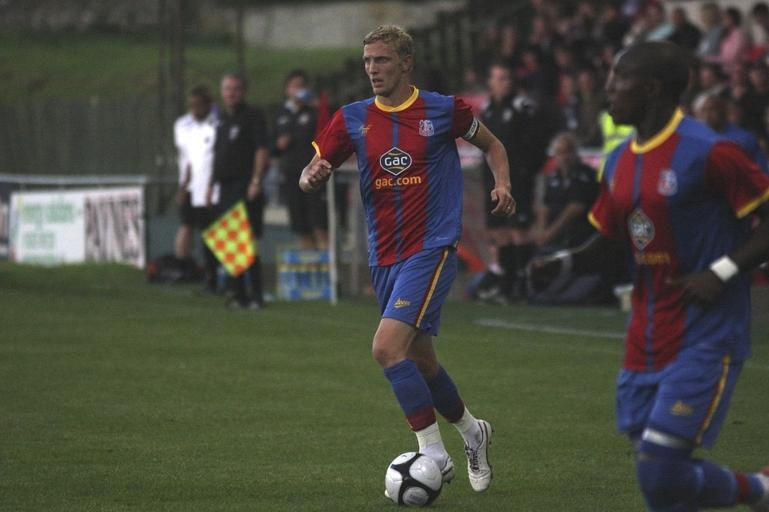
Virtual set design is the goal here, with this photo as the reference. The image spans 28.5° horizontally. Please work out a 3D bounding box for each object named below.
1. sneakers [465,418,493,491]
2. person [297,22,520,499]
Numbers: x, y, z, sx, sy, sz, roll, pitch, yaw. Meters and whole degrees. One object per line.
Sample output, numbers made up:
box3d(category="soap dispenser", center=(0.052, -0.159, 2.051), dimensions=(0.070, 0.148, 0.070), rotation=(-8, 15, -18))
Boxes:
box3d(category="sneakers", center=(0.512, 0.991, 7.595), dimensions=(0.118, 0.329, 0.164), rotation=(-7, -18, 33))
box3d(category="person", center=(0.138, -0.006, 7.665), dimensions=(1.026, 2.318, 0.490), rotation=(0, 4, 3))
